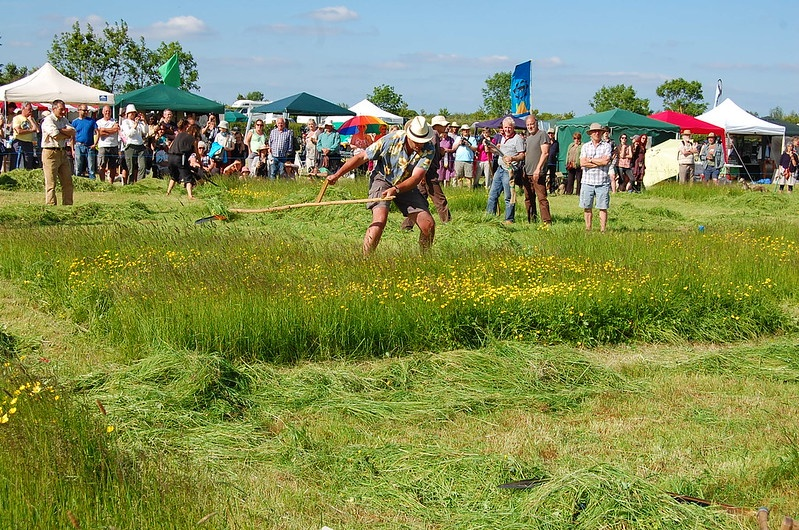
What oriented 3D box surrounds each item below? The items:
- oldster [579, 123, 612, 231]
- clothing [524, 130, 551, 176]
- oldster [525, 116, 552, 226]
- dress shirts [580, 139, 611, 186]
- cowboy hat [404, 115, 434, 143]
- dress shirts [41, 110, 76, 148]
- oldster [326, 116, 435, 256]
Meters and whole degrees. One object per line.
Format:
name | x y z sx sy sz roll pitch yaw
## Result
oldster | 3.594 -1.616 18.111 0.608 1.991 0.704 0 -1 0
clothing | 2.719 -2.228 19.619 0.528 0.899 0.396 2 4 27
oldster | 2.778 -1.848 19.697 0.642 2.111 0.649 4 0 -10
dress shirts | 3.606 -1.857 18.064 0.630 0.810 0.398 2 5 30
cowboy hat | 0.251 -1.845 13.437 0.357 0.363 0.429 0 4 0
dress shirts | -6.855 -2.625 19.542 0.498 0.675 0.580 9 15 22
oldster | -0.187 -1.022 13.859 1.427 2.105 1.172 -1 12 -20
